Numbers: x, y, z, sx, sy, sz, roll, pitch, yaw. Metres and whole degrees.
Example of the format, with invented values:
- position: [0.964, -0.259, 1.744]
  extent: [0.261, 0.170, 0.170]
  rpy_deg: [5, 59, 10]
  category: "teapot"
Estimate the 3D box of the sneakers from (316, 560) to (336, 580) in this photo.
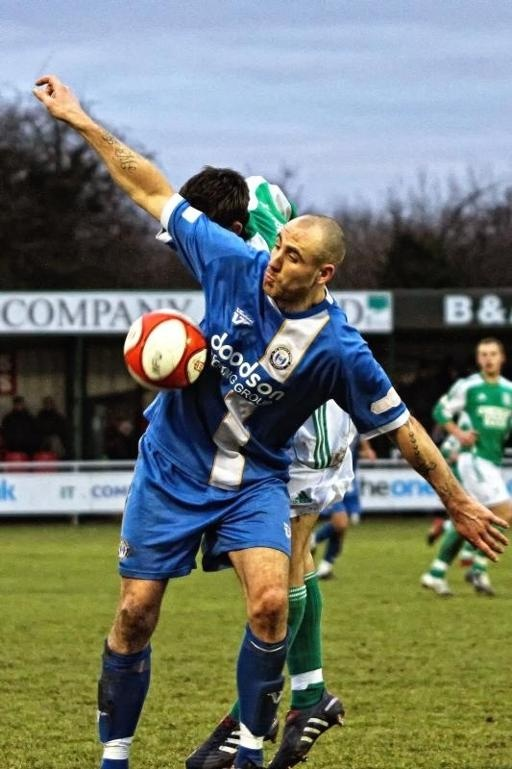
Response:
- position: [0.521, 1.375, 8.588]
  extent: [0.112, 0.162, 0.167]
  rpy_deg: [0, -7, 1]
  category: "sneakers"

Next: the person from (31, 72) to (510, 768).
- position: [-0.053, 0.081, 3.894]
  extent: [1.325, 2.370, 0.572]
  rpy_deg: [-1, 3, 0]
  category: "person"

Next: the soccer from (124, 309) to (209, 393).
- position: [-0.305, -0.126, 3.913]
  extent: [0.293, 0.239, 0.264]
  rpy_deg: [19, -18, -5]
  category: "soccer"

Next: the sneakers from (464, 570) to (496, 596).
- position: [1.318, 1.159, 6.733]
  extent: [0.117, 0.089, 0.270]
  rpy_deg: [-20, 18, -14]
  category: "sneakers"
